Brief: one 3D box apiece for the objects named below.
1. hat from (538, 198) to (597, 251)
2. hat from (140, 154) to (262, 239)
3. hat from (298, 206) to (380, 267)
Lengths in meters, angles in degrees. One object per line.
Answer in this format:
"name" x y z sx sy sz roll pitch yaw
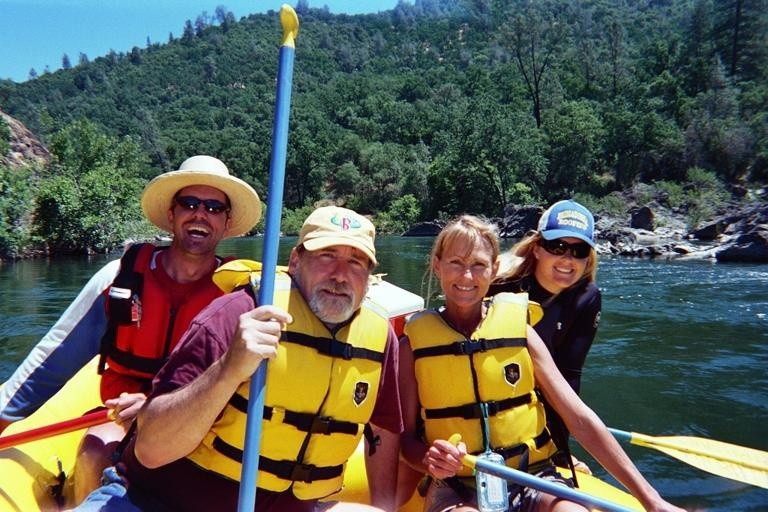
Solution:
"hat" 1.445 -0.247 4.496 0.299 0.245 0.469 17 5 3
"hat" -1.464 -0.557 4.676 0.766 0.757 0.394 9 46 -17
"hat" -0.278 -0.137 3.529 0.347 0.235 0.450 16 -3 -20
